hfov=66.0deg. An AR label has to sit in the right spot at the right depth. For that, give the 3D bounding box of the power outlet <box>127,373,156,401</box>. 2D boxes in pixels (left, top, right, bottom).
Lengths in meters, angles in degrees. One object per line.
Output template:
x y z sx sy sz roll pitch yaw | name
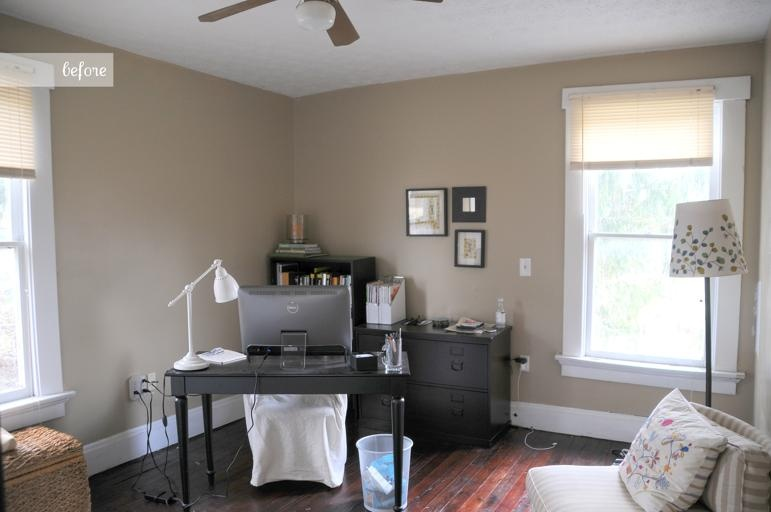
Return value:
-2.007 1.066 4.925 0.227 0.122 0.092 -2 2 10 | power outlet

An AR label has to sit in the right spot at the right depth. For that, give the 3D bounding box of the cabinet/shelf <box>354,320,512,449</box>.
0.488 1.129 5.507 1.241 0.925 0.713 0 4 27 | cabinet/shelf

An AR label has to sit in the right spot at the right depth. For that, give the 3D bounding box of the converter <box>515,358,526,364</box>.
1.224 0.938 5.321 0.083 0.045 0.032 -1 8 15 | converter

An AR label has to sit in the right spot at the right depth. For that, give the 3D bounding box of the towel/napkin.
-0.708 1.304 4.679 0.754 0.933 0.813 -3 -15 4 | towel/napkin

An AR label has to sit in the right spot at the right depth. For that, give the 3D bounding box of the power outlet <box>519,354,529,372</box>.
1.255 0.964 5.325 0.079 0.152 0.020 1 4 15 | power outlet

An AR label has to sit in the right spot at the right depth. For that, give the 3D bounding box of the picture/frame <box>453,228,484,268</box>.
0.783 -0.079 5.452 0.354 0.427 0.047 1 6 25 | picture/frame

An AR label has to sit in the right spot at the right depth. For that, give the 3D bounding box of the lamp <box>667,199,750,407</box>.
2.331 0.361 4.230 0.436 1.510 0.582 3 5 43 | lamp

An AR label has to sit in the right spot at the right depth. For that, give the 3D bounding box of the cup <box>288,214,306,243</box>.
-0.879 -0.273 5.955 0.176 0.272 0.082 0 4 -3 | cup

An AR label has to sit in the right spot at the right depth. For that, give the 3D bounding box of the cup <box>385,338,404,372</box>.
0.049 0.680 4.208 0.161 0.272 0.168 -3 -2 0 | cup

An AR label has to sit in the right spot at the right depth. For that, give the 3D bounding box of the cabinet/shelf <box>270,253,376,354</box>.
-0.643 0.390 5.837 1.530 0.781 1.395 0 2 11 | cabinet/shelf

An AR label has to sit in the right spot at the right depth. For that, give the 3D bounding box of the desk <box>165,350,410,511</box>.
-0.620 1.452 4.609 2.049 1.320 1.048 -1 -1 5 | desk
